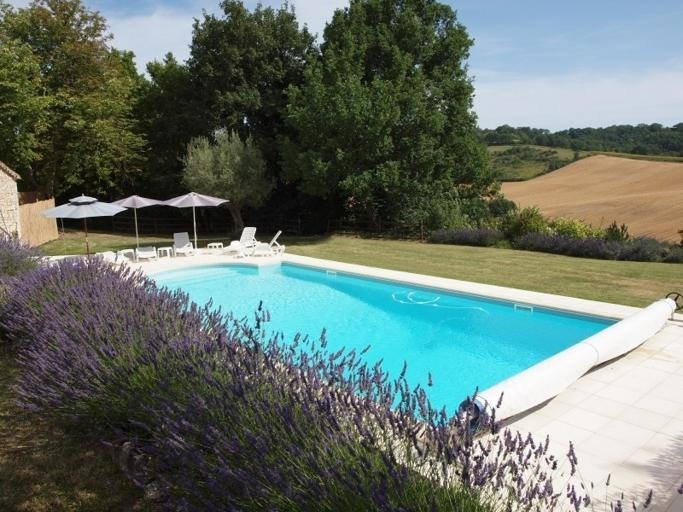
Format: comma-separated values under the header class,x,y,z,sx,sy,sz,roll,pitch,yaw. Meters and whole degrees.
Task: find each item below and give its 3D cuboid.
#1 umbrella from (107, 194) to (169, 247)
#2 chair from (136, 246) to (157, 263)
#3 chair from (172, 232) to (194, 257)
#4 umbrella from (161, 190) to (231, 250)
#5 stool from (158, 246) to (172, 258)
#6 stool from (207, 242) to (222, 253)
class,x,y,z,sx,sy,sz,roll,pitch,yaw
umbrella,-11.695,-1.899,27.975,2.634,2.993,2.824,-3,28,-19
chair,-7.537,-0.033,18.810,0.556,0.541,0.767,-4,9,-36
chair,-6.402,-0.412,19.930,0.726,0.903,1.123,-3,12,-29
umbrella,-8.146,-1.934,27.445,2.684,2.565,2.691,-15,27,-34
stool,-7.250,-0.094,20.117,0.585,0.508,0.620,4,7,15
stool,-5.609,-0.316,21.629,0.632,0.541,0.673,1,5,-2
